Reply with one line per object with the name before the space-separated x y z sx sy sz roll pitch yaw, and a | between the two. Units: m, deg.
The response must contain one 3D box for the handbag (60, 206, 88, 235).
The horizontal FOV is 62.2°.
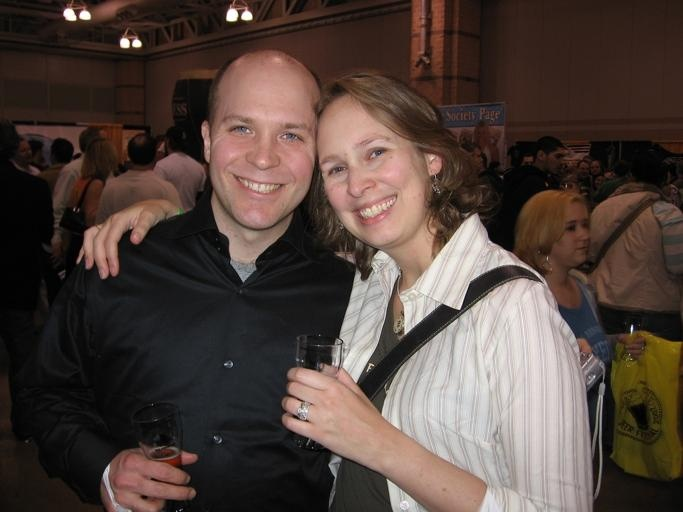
handbag | -2.725 -0.358 5.921 0.257 0.274 0.237 8 -8 6
